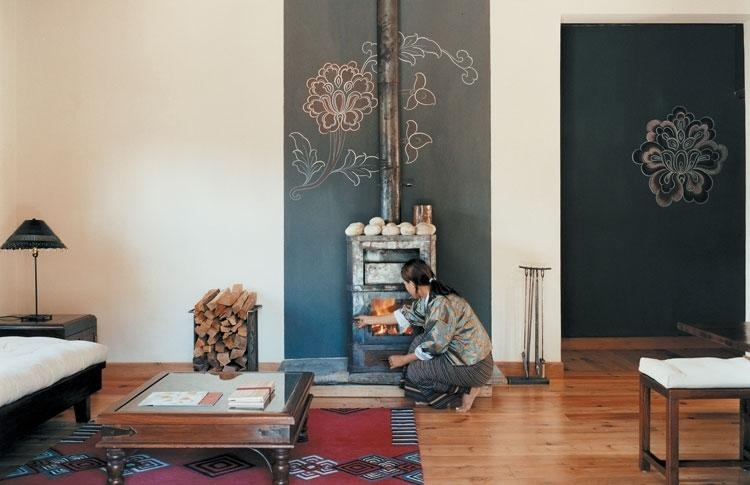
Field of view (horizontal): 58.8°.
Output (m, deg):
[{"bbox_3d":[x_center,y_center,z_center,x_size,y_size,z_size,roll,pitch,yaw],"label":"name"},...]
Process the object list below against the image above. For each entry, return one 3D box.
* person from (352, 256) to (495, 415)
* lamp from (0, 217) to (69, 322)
[{"bbox_3d":[0.474,0.940,6.609,1.479,1.407,0.913,3,7,13],"label":"person"},{"bbox_3d":[-3.429,0.270,6.790,0.660,1.018,0.723,1,9,28],"label":"lamp"}]
